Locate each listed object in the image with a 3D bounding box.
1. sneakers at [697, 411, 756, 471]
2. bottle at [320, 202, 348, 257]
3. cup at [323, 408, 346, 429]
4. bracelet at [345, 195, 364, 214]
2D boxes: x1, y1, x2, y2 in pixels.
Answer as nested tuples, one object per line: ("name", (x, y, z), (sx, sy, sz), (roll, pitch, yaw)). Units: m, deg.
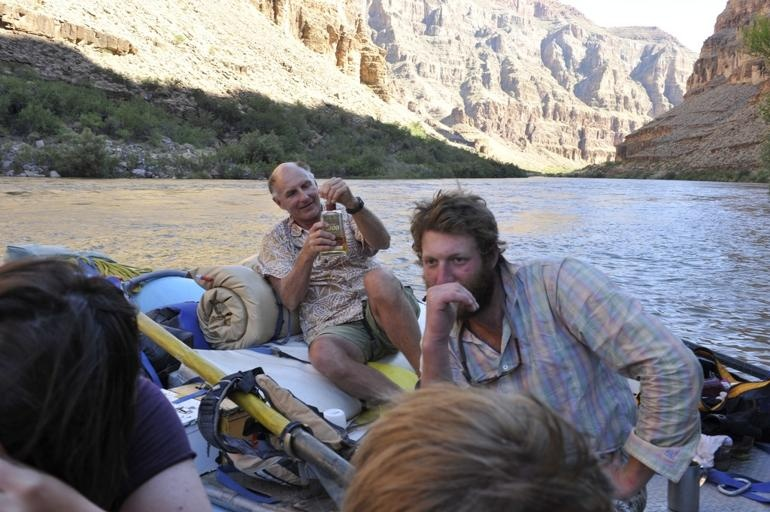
("sneakers", (1.775, 0.986, 3.034), (0.271, 0.116, 0.259), (-18, 35, -31))
("bottle", (-0.315, -0.159, 3.568), (0.137, 0.327, 0.280), (-3, 10, -6))
("cup", (-0.236, 0.758, 2.657), (0.099, 0.088, 0.097), (-5, 12, 1))
("bracelet", (-0.202, -0.330, 3.712), (0.052, 0.107, 0.117), (44, -4, -18))
